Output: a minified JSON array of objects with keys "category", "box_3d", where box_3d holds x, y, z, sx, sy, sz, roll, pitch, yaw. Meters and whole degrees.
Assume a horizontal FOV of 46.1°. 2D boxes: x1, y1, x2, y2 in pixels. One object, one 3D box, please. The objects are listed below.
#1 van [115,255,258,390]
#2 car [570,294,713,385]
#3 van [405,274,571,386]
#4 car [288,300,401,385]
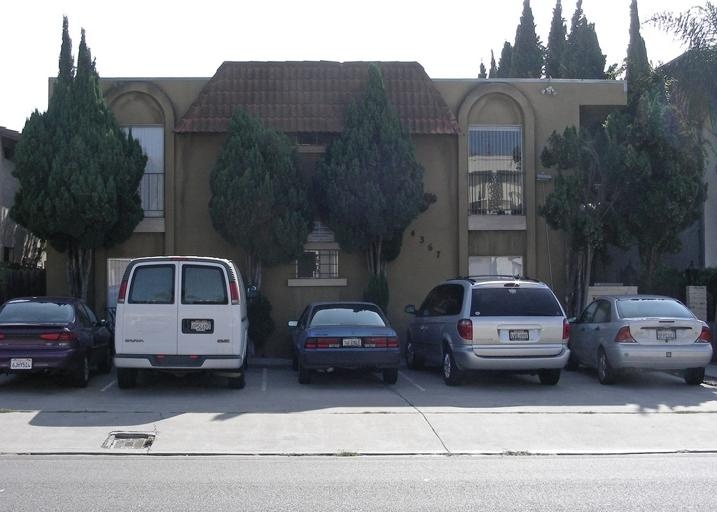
[{"category":"van","box_3d":[-3.665,1.189,17.414,1.646,1.761,3.077,0,3,-4]},{"category":"car","box_3d":[6.200,1.927,19.236,1.642,1.982,3.150,-3,5,-45]},{"category":"van","box_3d":[2.766,1.652,19.829,1.911,1.637,3.567,1,0,-9]},{"category":"car","box_3d":[-0.231,2.007,19.566,2.279,1.767,2.115,1,4,2]}]
